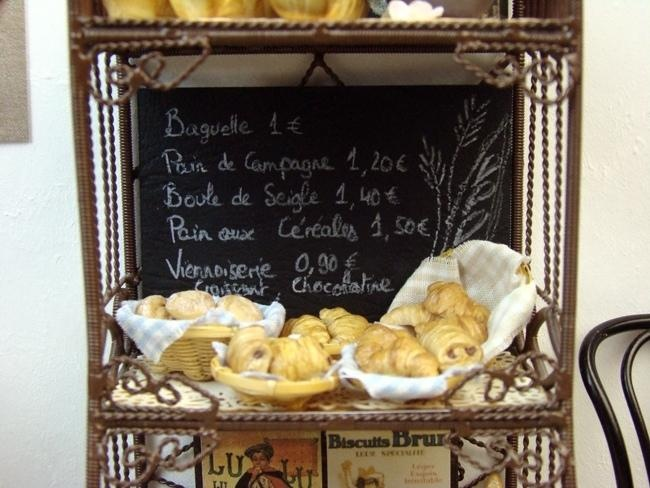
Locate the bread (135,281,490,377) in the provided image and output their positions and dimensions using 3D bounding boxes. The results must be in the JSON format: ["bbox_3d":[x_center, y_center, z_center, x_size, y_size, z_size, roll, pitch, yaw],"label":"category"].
[{"bbox_3d":[0.010,0.239,1.643,0.679,0.108,0.374,2,6,0],"label":"bread"}]
